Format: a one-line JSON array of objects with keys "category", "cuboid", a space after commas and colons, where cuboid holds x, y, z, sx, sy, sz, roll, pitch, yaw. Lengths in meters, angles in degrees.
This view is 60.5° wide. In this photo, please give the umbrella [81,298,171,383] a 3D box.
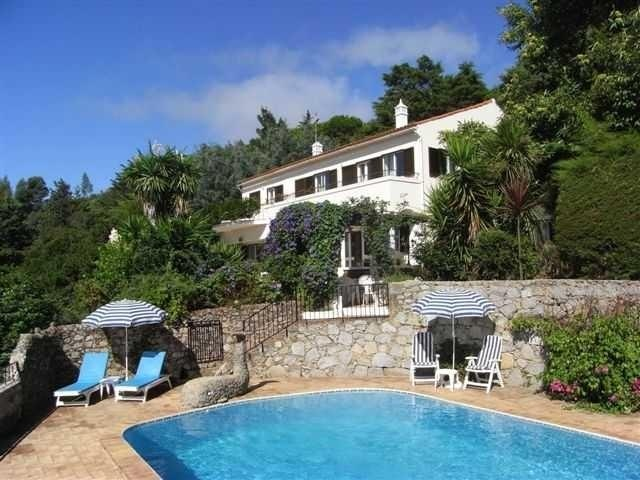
[{"category": "umbrella", "cuboid": [-7.217, 3.521, 20.398, 2.704, 3.117, 2.866, -1, -7, -17]}]

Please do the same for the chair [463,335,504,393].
[{"category": "chair", "cuboid": [5.823, 4.329, 19.319, 1.326, 1.915, 1.475, 4, 11, 20]}]

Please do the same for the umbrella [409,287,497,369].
[{"category": "umbrella", "cuboid": [4.758, 3.330, 19.892, 2.768, 3.143, 2.849, 1, -5, -27]}]

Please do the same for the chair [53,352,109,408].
[{"category": "chair", "cuboid": [-8.141, 4.988, 19.156, 1.276, 1.533, 2.199, 1, 10, 6]}]
